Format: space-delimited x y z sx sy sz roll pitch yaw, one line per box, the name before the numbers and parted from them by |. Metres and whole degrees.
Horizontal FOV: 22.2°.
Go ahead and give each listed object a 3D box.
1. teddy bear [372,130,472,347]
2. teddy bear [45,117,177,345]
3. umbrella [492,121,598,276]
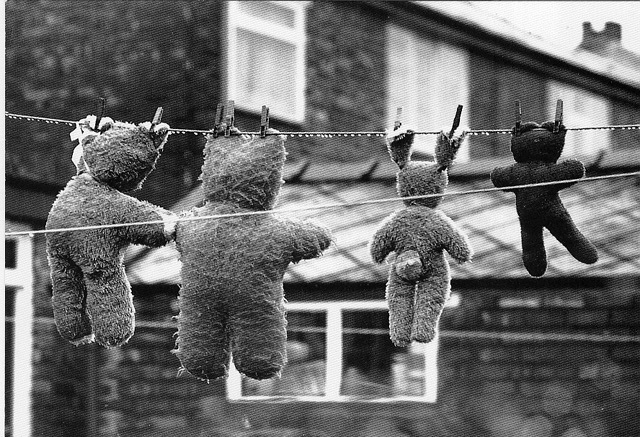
teddy bear | 0.469 0.088 7.838 0.511 1.042 0.409 -4 -15 28
teddy bear | -1.016 0.062 7.835 0.621 1.113 0.312 4 -14 -3
umbrella | 1.083 -0.094 7.852 0.485 0.727 0.307 0 -13 12
